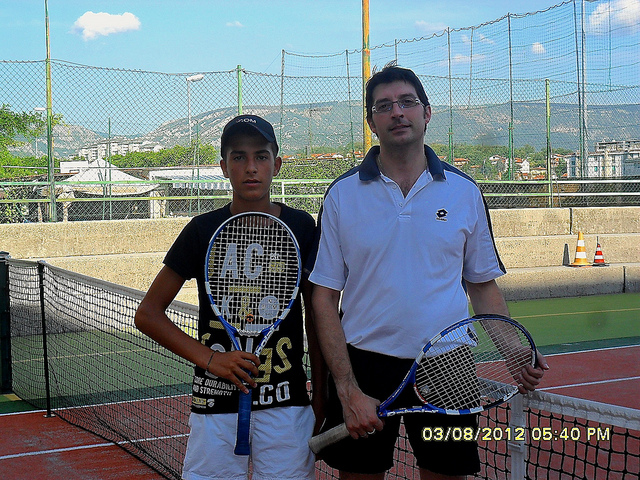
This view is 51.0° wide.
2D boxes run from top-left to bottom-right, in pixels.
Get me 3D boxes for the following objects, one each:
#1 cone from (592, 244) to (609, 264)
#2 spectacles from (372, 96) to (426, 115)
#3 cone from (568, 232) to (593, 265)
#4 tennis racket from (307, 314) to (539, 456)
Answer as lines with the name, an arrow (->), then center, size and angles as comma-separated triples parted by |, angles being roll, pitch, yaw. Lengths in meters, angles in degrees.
cone -> 5.441, 0.284, 13.069 | 0.276, 0.315, 0.278 | -1, -4, 28
spectacles -> 0.428, -0.763, 3.772 | 0.274, 0.085, 0.053 | -1, 4, 5
cone -> 5.049, 0.168, 13.051 | 0.524, 0.603, 0.543 | 4, -6, 5
tennis racket -> 0.504, 0.871, 3.774 | 1.461, 0.605, 0.113 | -32, 26, 21
